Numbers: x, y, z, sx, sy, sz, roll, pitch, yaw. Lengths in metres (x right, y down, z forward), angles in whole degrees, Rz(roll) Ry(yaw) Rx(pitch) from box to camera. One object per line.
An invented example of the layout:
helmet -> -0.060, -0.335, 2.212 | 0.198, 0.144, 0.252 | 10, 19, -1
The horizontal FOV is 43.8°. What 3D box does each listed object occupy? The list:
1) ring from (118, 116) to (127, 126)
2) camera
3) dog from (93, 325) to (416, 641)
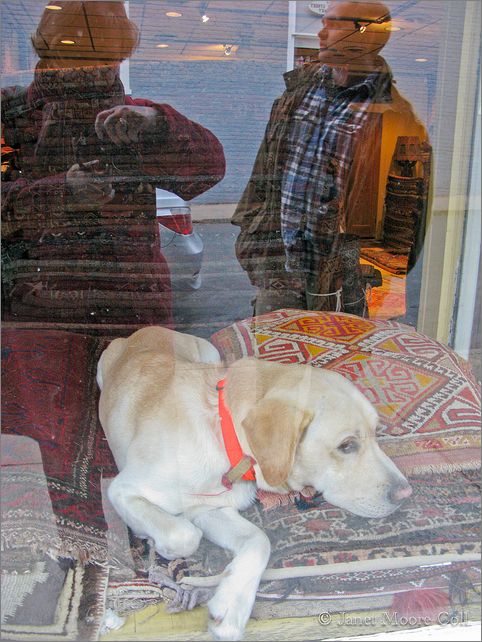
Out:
ring -> -0.170, -0.286, 0.855 | 0.012, 0.010, 0.004 | -5, 21, -18
camera -> -0.179, -0.225, 0.887 | 0.123, 0.106, 0.037 | 4, 27, -8
dog -> -0.016, 0.237, 0.917 | 0.456, 0.395, 0.284 | 13, 31, 26
